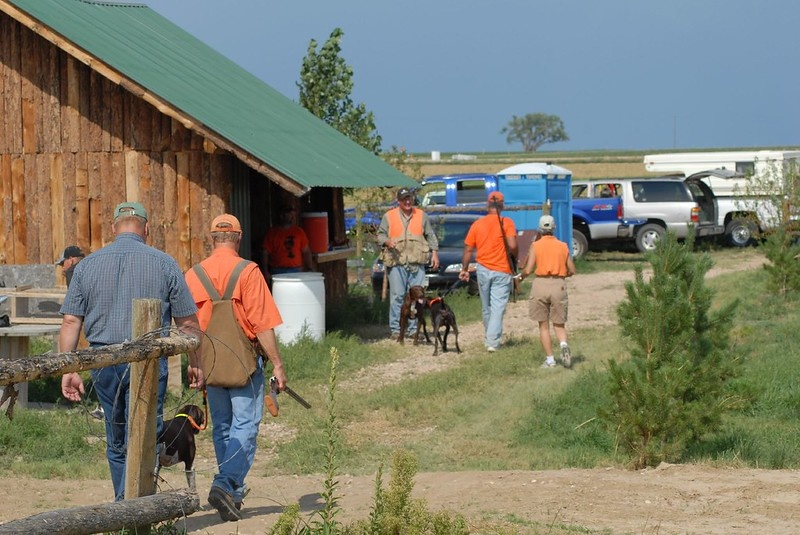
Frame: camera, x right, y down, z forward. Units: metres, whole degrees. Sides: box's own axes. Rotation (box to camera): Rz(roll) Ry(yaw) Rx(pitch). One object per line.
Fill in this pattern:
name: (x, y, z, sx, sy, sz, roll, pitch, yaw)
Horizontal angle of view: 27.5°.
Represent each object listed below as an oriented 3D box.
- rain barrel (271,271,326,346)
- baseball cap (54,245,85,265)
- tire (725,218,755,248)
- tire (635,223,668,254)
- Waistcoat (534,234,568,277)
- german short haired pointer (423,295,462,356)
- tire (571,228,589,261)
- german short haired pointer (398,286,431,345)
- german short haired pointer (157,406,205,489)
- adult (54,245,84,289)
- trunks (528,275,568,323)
rain barrel: (-1.910, 0.681, 27.816, 1.002, 1.686, 1.015, -1, 0, 0)
baseball cap: (-4.933, -0.224, 24.356, 0.505, 0.320, 0.358, 1, 2, 1)
tire: (8.085, -0.894, 38.768, 0.575, 0.665, 0.236, 1, 11, 3)
tire: (5.145, -0.665, 33.349, 0.634, 0.731, 0.239, 1, 4, 13)
Waistcoat: (2.448, -0.240, 26.359, 0.743, 1.015, 0.518, 1, 5, 10)
german short haired pointer: (0.777, 0.957, 28.632, 0.580, 1.046, 1.811, -4, -3, 1)
tire: (4.185, -0.587, 38.017, 0.522, 0.584, 0.199, 21, 1, -12)
german short haired pointer: (0.288, 0.761, 28.986, 0.532, 1.127, 1.627, 1, 5, 1)
german short haired pointer: (-2.936, 2.280, 21.778, 0.342, 0.886, 1.496, 3, 0, 16)
adult: (-4.934, -0.077, 24.599, 0.447, 0.404, 0.779, 12, -33, -34)
trunks: (2.407, 0.425, 26.313, 0.638, 0.815, 0.455, 5, 15, 7)
